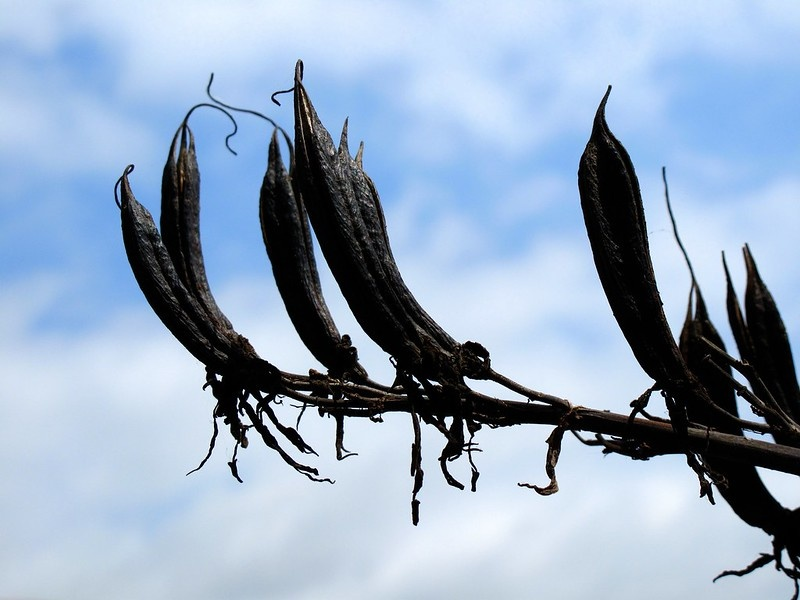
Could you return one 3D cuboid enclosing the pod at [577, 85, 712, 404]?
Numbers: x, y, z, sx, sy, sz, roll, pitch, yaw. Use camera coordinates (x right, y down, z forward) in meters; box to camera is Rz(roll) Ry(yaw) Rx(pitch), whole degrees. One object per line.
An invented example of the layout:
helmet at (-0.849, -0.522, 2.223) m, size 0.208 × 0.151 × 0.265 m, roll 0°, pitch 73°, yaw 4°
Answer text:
pod at (1.639, -0.243, 13.081) m, size 0.341 × 2.321 × 0.297 m, roll -8°, pitch -7°, yaw -21°
